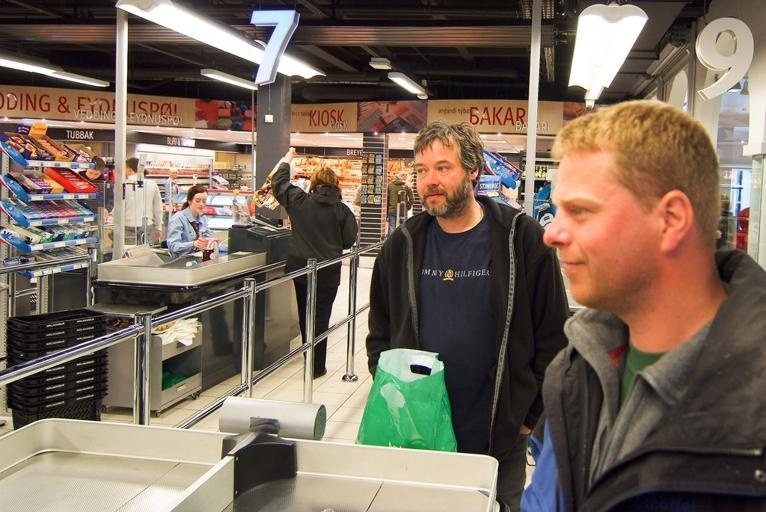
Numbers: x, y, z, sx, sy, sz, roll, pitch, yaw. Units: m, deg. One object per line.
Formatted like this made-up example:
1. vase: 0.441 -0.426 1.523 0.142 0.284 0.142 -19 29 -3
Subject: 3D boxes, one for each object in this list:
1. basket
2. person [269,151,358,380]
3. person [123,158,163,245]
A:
1. basket: -2.384 0.848 4.174 0.333 0.851 0.647 6 8 33
2. person: -0.708 0.091 6.004 0.908 2.473 0.936 0 7 -15
3. person: -4.529 -1.059 10.683 0.623 1.629 0.917 -1 7 -23
